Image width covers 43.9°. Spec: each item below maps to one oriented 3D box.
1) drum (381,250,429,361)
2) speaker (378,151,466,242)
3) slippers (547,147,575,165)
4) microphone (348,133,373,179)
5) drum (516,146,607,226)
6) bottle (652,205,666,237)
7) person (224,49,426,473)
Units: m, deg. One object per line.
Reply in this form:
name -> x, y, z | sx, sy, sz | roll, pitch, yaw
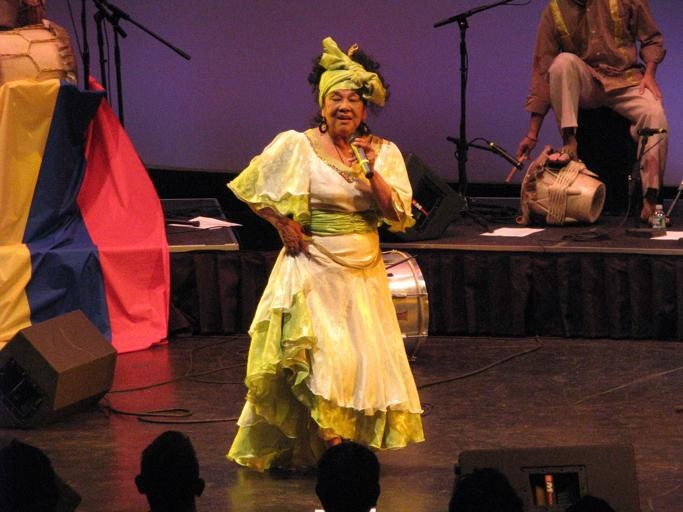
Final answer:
drum -> 0.358, 0.293, 4.775 | 0.213, 0.509, 0.463 | -16, 34, -12
speaker -> 0.635, -0.403, 6.109 | 0.630, 0.545, 0.603 | -14, 13, -31
slippers -> 1.710, -0.774, 6.551 | 0.198, 0.080, 0.123 | -3, 27, 22
microphone -> 0.088, -0.438, 3.747 | 0.091, 0.192, 0.213 | -2, 5, -9
drum -> 1.733, -0.574, 6.671 | 0.665, 0.542, 0.654 | 8, 17, 33
bottle -> 2.284, -0.250, 6.043 | 0.088, 0.219, 0.082 | -5, 8, 1
person -> -0.078, 0.155, 3.869 | 0.884, 1.658, 0.479 | -1, 5, 2
